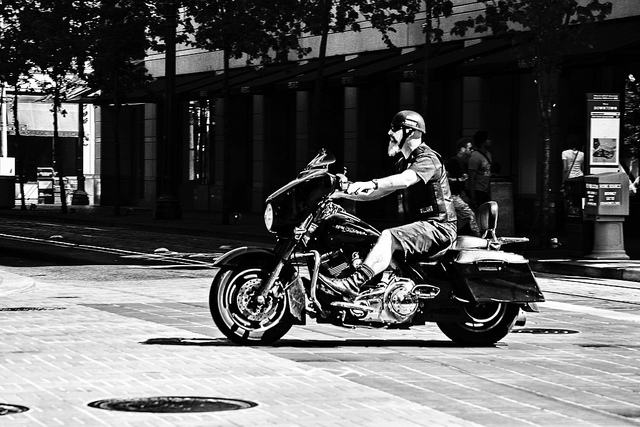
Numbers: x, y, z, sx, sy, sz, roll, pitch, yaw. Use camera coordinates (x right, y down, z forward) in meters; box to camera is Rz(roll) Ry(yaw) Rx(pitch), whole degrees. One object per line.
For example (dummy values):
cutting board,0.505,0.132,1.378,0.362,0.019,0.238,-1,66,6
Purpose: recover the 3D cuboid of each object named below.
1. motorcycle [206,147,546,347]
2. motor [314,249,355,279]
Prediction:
motorcycle,0.598,0.470,9.227,3.373,1.436,1.257,2,-4,-17
motor,0.149,0.499,9.046,0.286,0.317,0.152,-25,-15,-5
